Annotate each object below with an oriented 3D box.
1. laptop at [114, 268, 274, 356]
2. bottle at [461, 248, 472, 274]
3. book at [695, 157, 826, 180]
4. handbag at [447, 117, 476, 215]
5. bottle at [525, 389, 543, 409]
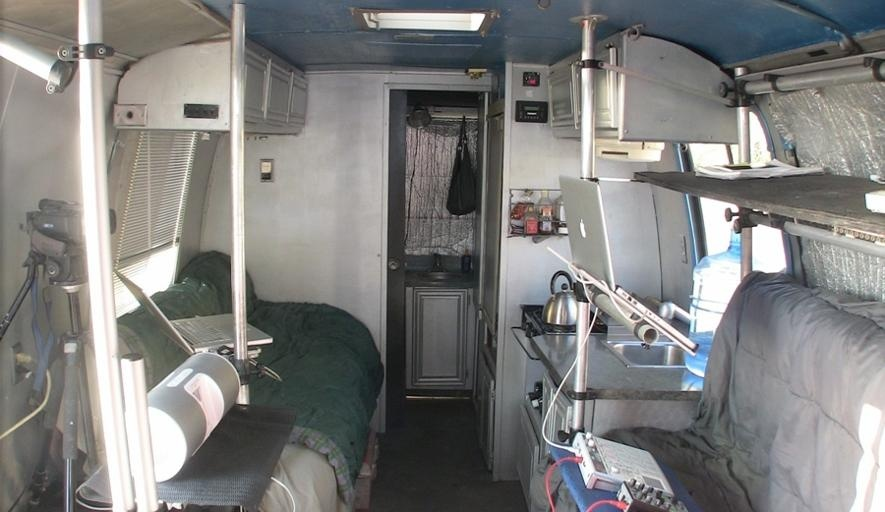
[{"bbox_3d":[-1.189,0.374,2.890,0.576,0.347,0.605,-5,14,-30],"label":"laptop"},{"bbox_3d":[0.242,0.041,6.089,0.108,0.237,0.094,2,2,-3],"label":"bottle"},{"bbox_3d":[1.515,-0.414,2.839,0.557,0.089,0.229,3,2,18],"label":"book"},{"bbox_3d":[0.193,-0.895,5.943,0.273,0.959,0.232,2,2,-14],"label":"handbag"},{"bbox_3d":[0.636,0.989,4.104,0.026,0.094,0.106,10,-9,-38],"label":"bottle"}]
